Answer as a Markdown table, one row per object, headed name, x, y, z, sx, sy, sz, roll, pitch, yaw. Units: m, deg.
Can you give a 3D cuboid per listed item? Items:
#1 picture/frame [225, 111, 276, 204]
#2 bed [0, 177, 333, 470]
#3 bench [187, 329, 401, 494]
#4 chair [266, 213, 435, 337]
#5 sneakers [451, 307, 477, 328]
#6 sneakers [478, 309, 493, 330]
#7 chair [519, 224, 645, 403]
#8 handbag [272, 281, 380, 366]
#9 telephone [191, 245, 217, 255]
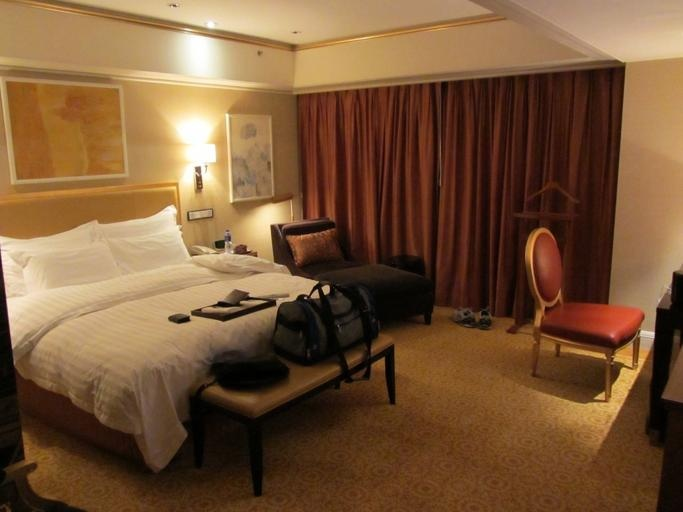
| name | x | y | z | sx | sy | sz | roll | pitch | yaw |
| --- | --- | --- | --- | --- | --- | --- | --- | --- | --- |
| picture/frame | -1.187 | -1.271 | 6.610 | 0.062 | 1.400 | 0.995 | 10 | 17 | 35 |
| bed | -1.891 | 0.413 | 4.150 | 2.398 | 1.101 | 2.030 | 13 | 21 | 32 |
| bench | -0.289 | 1.032 | 3.624 | 1.445 | 0.625 | 0.564 | -14 | 17 | -34 |
| chair | 0.041 | 0.177 | 6.121 | 1.084 | 1.065 | 1.866 | -10 | 15 | -37 |
| sneakers | 1.348 | 0.675 | 5.724 | 0.141 | 0.124 | 0.285 | -2 | 9 | -6 |
| sneakers | 1.562 | 0.672 | 5.633 | 0.097 | 0.127 | 0.295 | -2 | 4 | 14 |
| chair | 1.995 | 0.437 | 4.370 | 0.808 | 1.260 | 0.639 | 8 | 19 | 41 |
| handbag | -0.099 | 0.452 | 3.937 | 0.469 | 0.542 | 0.850 | 1 | 7 | 39 |
| telephone | -1.590 | -0.060 | 5.917 | 0.277 | 0.097 | 0.153 | 0 | 10 | 29 |
